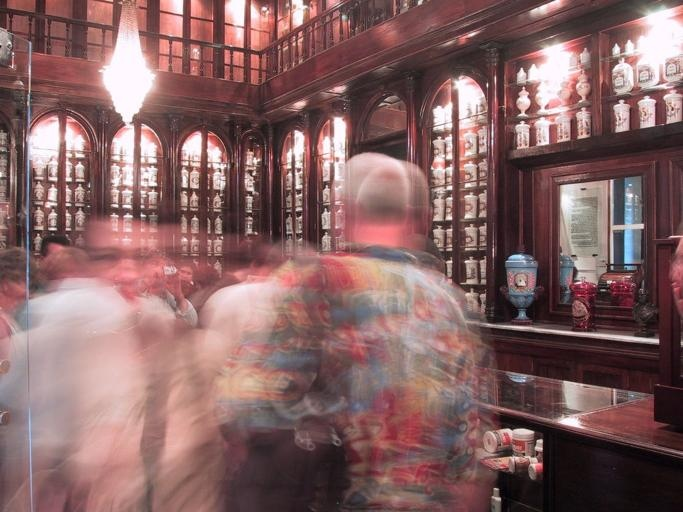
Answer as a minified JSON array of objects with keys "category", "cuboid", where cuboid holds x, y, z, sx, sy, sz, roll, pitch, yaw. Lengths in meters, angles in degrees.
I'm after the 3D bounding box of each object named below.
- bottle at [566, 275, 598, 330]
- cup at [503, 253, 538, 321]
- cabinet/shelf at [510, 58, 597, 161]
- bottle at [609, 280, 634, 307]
[{"category":"bottle","cuboid":[1.752,0.360,3.785,0.152,0.337,0.193,1,2,25]},{"category":"cup","cuboid":[1.458,0.243,4.238,0.244,0.555,0.234,0,2,0]},{"category":"cabinet/shelf","cuboid":[1.677,-1.138,4.071,0.268,0.829,0.813,2,-3,-35]},{"category":"bottle","cuboid":[2.019,0.260,3.760,0.150,0.245,0.159,-1,-4,0]}]
